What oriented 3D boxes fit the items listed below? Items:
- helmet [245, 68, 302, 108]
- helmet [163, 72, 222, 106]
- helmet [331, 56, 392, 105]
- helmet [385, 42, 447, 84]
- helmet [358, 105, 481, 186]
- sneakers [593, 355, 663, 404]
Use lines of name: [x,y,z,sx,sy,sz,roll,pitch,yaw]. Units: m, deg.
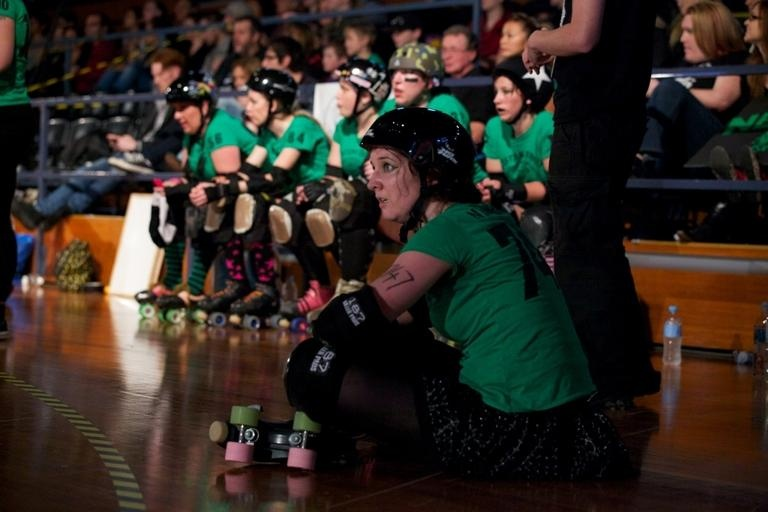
helmet: [-0.879,-1.335,5.582,0.406,0.279,0.304,0,26,-19]
helmet: [-1.570,-1.355,5.693,0.314,0.303,0.442,15,21,31]
helmet: [-0.138,-1.395,5.478,0.402,0.327,0.283,7,35,-16]
helmet: [0.254,-1.510,5.507,0.451,0.308,0.348,-14,24,-42]
helmet: [0.140,-0.404,2.684,0.454,0.311,0.321,0,7,-16]
sneakers: [1.169,0.591,3.377,0.292,0.113,0.208,-3,0,-16]
